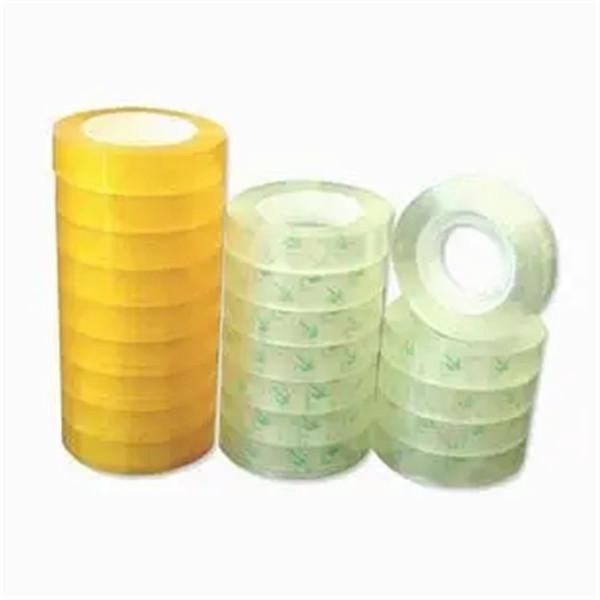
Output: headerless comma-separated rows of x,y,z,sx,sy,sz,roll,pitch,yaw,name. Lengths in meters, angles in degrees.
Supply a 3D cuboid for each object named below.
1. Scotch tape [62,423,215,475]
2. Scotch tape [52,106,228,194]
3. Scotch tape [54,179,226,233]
-0.306,0.310,1.584,0.154,0.036,0.148,4,12,11,Scotch tape
-0.291,-0.261,1.409,0.218,0.053,0.216,7,19,9,Scotch tape
-0.324,-0.179,1.533,0.348,0.082,0.343,-3,2,37,Scotch tape
